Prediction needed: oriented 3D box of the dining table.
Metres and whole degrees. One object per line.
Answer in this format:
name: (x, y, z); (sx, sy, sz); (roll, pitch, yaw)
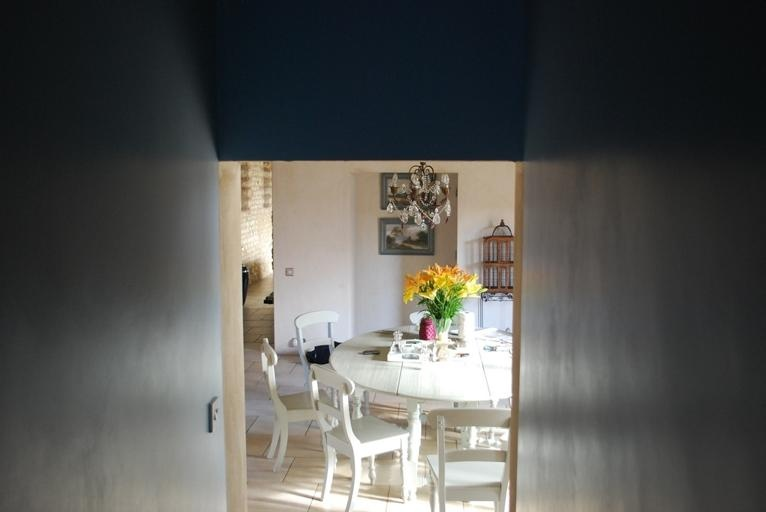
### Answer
dining table: (0.312, 1.139, 3.698); (1.082, 0.566, 1.108); (-2, 12, -5)

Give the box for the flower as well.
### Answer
flower: (0.481, 0.312, 4.276); (0.578, 0.433, 0.551); (3, 3, -7)

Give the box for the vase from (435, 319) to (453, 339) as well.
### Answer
vase: (0.465, 0.559, 4.247); (0.135, 0.164, 0.150); (-1, 1, 1)

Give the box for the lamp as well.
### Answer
lamp: (0.333, -0.536, 4.756); (0.589, 0.611, 0.605); (5, 11, 16)
